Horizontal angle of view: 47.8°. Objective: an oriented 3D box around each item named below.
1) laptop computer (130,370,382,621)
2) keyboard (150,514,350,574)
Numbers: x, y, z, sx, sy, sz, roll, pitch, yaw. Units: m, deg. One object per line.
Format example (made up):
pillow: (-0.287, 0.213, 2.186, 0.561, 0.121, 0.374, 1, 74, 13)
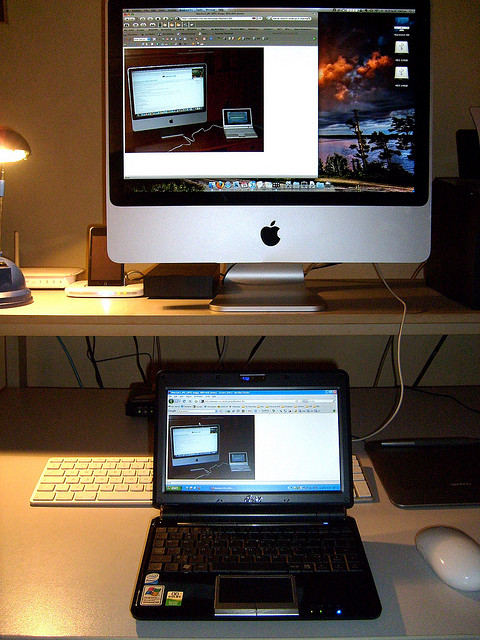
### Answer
laptop computer: (0.019, 0.196, 0.714, 0.281, 0.247, 0.334, 0, 1, 4)
keyboard: (0.020, 0.294, 0.723, 0.265, 0.014, 0.109, 0, 15, -2)
